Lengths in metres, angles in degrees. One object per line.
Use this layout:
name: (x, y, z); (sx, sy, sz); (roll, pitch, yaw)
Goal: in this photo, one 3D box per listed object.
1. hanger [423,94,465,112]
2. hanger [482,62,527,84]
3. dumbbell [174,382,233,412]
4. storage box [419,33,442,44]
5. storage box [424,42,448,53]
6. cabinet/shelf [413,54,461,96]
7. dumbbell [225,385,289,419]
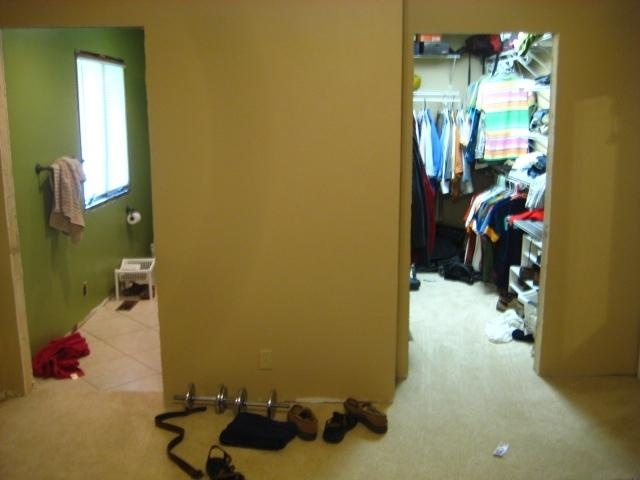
hanger: (1.385, -1.559, 6.145); (0.251, 0.136, 0.186); (0, 41, 1)
hanger: (1.722, -1.571, 5.079); (0.244, 0.120, 0.195); (10, 35, 23)
dumbbell: (-0.728, 1.023, 3.451); (0.354, 0.179, 0.170); (0, -31, 10)
storage box: (1.258, -2.287, 6.149); (0.287, 0.078, 0.091); (-2, 8, -14)
storage box: (1.302, -2.180, 6.143); (0.181, 0.154, 0.090); (2, 8, 4)
cabinet/shelf: (1.352, -1.917, 6.274); (0.516, 0.423, 0.343); (2, 8, 14)
dumbbell: (-0.401, 1.045, 3.445); (0.419, 0.182, 0.192); (0, 8, 2)
